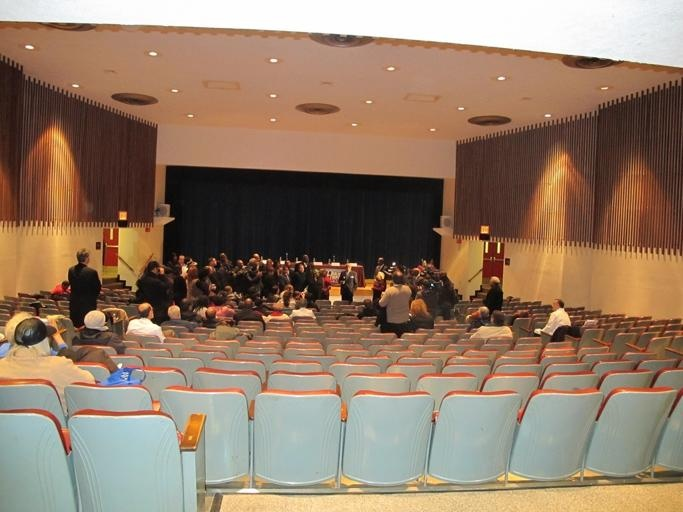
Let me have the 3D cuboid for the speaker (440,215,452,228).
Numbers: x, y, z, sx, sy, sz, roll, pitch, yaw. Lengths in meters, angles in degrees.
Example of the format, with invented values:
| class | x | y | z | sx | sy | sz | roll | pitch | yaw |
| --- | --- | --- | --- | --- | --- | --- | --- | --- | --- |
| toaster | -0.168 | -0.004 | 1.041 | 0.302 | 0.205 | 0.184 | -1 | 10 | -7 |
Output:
| class | x | y | z | sx | sy | sz | roll | pitch | yaw |
| --- | --- | --- | --- | --- | --- | --- | --- | --- | --- |
| speaker | 3.609 | -1.178 | 18.555 | 0.362 | 0.340 | 0.196 | 3 | -1 | -11 |

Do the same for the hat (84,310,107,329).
| class | x | y | z | sx | sy | sz | roll | pitch | yaw |
| --- | --- | --- | --- | --- | --- | --- | --- | --- | --- |
| hat | -2.639 | 0.686 | 5.777 | 0.211 | 0.216 | 0.226 | 6 | -1 | 3 |

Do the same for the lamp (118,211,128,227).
| class | x | y | z | sx | sy | sz | roll | pitch | yaw |
| --- | --- | --- | --- | --- | --- | --- | --- | --- | --- |
| lamp | -6.130 | -1.048 | 15.079 | 0.253 | 0.462 | 0.531 | 4 | -2 | -21 |

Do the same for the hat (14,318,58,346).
| class | x | y | z | sx | sy | sz | roll | pitch | yaw |
| --- | --- | --- | --- | --- | --- | --- | --- | --- | --- |
| hat | -2.406 | 0.588 | 4.163 | 0.218 | 0.246 | 0.192 | 4 | -2 | -30 |

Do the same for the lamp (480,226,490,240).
| class | x | y | z | sx | sy | sz | roll | pitch | yaw |
| --- | --- | --- | --- | --- | --- | --- | --- | --- | --- |
| lamp | 4.333 | -0.706 | 16.282 | 0.291 | 0.359 | 0.336 | 3 | -2 | 9 |
